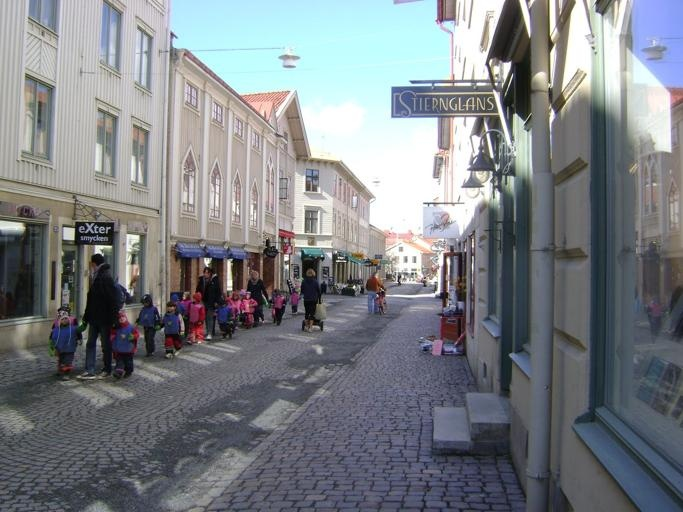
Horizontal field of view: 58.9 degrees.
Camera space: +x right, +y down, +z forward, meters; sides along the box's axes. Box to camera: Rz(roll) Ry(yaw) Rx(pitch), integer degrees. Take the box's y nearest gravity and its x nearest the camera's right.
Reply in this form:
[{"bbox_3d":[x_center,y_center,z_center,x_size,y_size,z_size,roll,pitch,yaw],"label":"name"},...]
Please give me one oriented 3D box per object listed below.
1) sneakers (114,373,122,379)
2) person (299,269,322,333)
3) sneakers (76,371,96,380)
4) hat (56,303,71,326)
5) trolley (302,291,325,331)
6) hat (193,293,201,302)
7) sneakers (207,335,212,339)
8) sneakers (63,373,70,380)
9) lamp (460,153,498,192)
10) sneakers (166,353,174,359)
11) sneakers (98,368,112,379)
[{"bbox_3d":[-3.786,2.018,10.251,0.074,0.046,0.117,13,-32,-17],"label":"sneakers"},{"bbox_3d":[-0.914,1.233,18.125,0.498,1.937,0.505,12,12,39],"label":"person"},{"bbox_3d":[-4.341,2.008,10.227,0.320,0.188,0.152,3,-4,5],"label":"sneakers"},{"bbox_3d":[-4.651,0.982,10.125,0.206,0.279,0.153,-2,-1,-28],"label":"hat"},{"bbox_3d":[-0.876,1.855,18.433,0.561,1.363,0.875,2,1,1],"label":"trolley"},{"bbox_3d":[-3.601,1.003,15.024,0.136,0.211,0.207,2,-22,20],"label":"hat"},{"bbox_3d":[-3.491,2.120,15.889,0.068,0.098,0.119,5,-14,-14],"label":"sneakers"},{"bbox_3d":[-4.654,2.045,10.262,0.108,0.129,0.072,-14,-13,32],"label":"sneakers"},{"bbox_3d":[1.914,-1.223,8.228,0.426,0.593,0.500,1,-7,-5],"label":"lamp"},{"bbox_3d":[-3.627,2.075,12.690,0.060,0.092,0.191,-1,-12,0],"label":"sneakers"},{"bbox_3d":[-4.099,2.030,10.470,0.117,0.151,0.317,2,-9,-4],"label":"sneakers"}]
